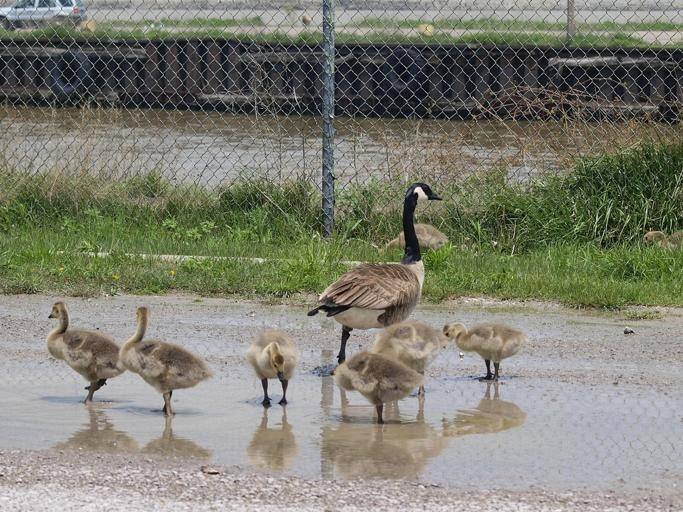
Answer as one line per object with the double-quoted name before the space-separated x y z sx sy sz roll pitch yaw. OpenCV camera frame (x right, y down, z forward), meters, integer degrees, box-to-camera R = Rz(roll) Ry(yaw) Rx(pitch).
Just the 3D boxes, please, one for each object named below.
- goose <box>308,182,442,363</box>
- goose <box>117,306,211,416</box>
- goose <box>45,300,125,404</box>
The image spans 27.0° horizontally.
"goose" 0.927 0.289 17.449 2.247 2.762 0.968 -7 14 -43
"goose" -2.029 1.197 16.401 0.992 1.167 0.505 3 7 26
"goose" -2.984 1.122 16.699 1.069 1.062 0.459 6 9 43
